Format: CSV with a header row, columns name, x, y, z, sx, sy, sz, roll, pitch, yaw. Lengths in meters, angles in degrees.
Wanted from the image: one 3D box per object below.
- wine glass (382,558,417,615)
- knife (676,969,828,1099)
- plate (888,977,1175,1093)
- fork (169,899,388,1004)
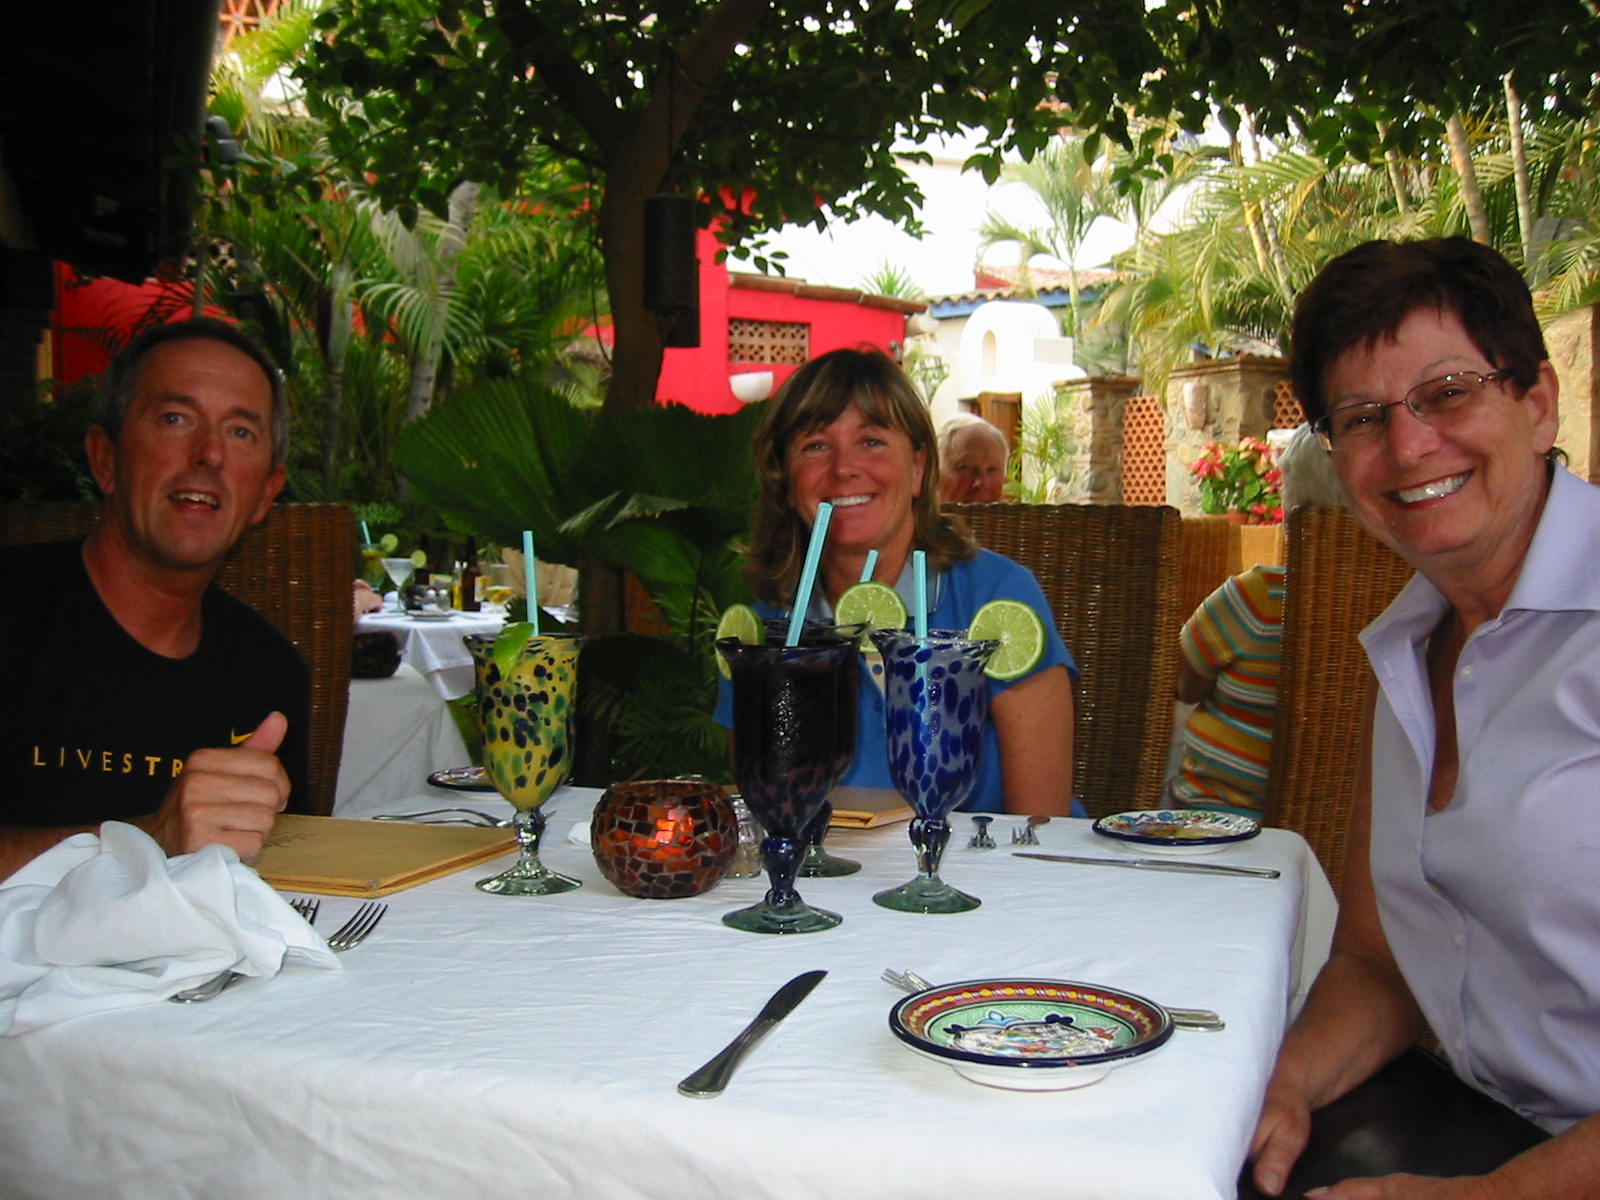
name,x,y,z,sx,sy,sz,roll,pitch,yaw
wine glass,-2.049,-0.089,6.486,0.155,0.241,0.573,-1,5,-17
knife,-0.042,0.382,1.138,0.036,0.017,0.207,0,13,25
plate,0.196,0.372,1.079,0.238,0.049,0.175,1,5,3
fork,-0.589,0.406,1.429,0.289,0.041,0.045,-25,-34,18
